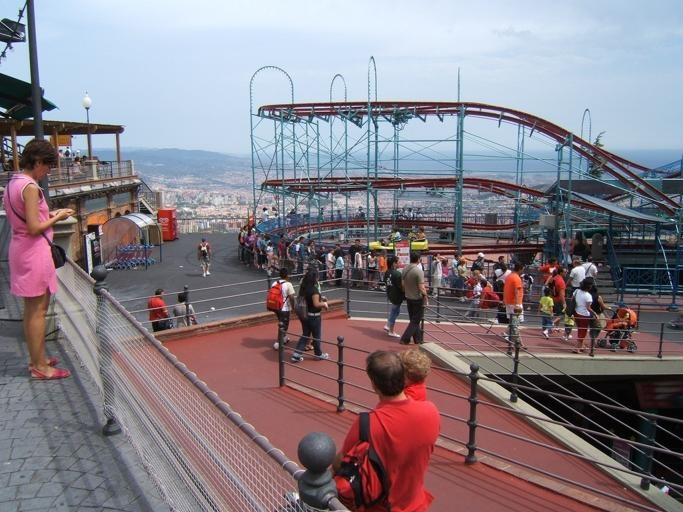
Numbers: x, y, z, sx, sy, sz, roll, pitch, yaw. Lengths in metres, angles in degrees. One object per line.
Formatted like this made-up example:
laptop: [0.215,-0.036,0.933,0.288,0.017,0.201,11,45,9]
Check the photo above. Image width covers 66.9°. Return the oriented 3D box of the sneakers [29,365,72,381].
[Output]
sneakers: [-3.632,1.442,6.427,0.377,0.137,0.186,0,10,-15]

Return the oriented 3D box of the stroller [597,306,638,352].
stroller: [7.111,1.908,13.373,0.850,0.970,0.821,-3,5,-39]

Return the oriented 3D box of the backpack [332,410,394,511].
backpack: [0.126,1.565,3.835,0.391,0.711,0.229,-5,9,-26]

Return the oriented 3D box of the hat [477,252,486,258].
hat: [6.331,-0.068,23.453,0.310,0.226,0.447,-8,2,-30]

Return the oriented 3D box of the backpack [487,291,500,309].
backpack: [4.541,1.340,15.492,0.372,0.221,0.490,15,-26,-10]

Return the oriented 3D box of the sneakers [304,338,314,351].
sneakers: [-0.639,1.874,10.823,0.136,0.166,0.432,3,4,11]

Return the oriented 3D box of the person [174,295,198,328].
person: [-3.909,1.351,12.871,0.463,1.029,1.066,-4,8,-16]

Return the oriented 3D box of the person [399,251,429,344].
person: [1.535,0.955,11.158,0.548,2.119,1.057,0,8,7]

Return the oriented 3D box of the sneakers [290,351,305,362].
sneakers: [-0.872,2.020,10.325,0.127,0.137,0.307,5,12,14]

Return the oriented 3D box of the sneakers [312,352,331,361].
sneakers: [-0.378,2.023,10.312,0.152,0.170,0.416,7,9,33]

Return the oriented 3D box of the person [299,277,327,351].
person: [-0.609,1.175,10.161,0.611,1.897,1.255,-2,8,-2]

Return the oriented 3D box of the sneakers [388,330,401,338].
sneakers: [1.211,1.832,12.029,0.337,0.136,0.111,-4,12,-30]

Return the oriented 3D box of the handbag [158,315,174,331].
handbag: [-4.235,1.616,12.403,0.315,0.428,0.945,-4,8,-20]

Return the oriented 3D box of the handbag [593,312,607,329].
handbag: [6.631,1.666,13.288,0.392,0.344,0.383,-6,16,16]

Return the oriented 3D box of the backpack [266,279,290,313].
backpack: [-1.264,0.796,10.373,0.355,0.547,0.552,8,12,22]

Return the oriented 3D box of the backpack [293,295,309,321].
backpack: [-0.799,1.012,9.962,0.169,0.479,0.330,-5,9,-25]

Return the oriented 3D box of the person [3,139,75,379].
person: [-3.517,0.132,6.037,0.621,2.940,0.705,-6,9,-27]
